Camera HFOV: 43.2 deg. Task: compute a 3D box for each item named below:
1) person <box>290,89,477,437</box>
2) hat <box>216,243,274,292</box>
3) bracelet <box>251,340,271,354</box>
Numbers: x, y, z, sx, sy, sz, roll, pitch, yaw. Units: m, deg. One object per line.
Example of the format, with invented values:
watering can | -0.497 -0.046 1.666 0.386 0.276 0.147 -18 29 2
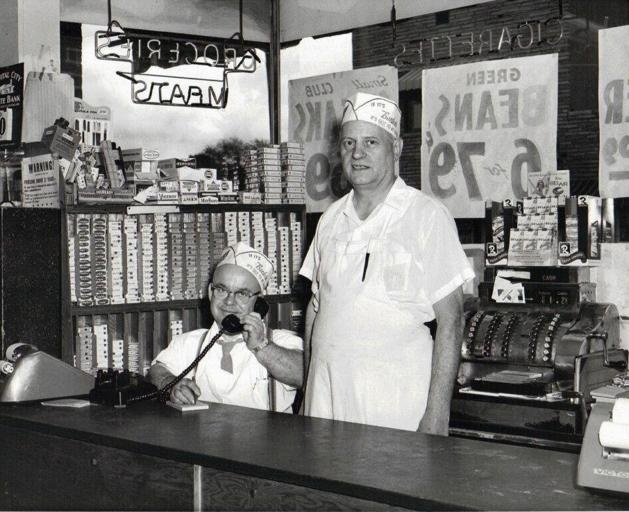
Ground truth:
person | 0.303 0.030 3.580 0.807 1.482 0.629 1 12 12
hat | -0.362 0.058 4.057 0.208 0.146 0.271 32 -2 -14
bracelet | -0.238 0.410 3.556 0.059 0.016 0.054 -40 7 -40
